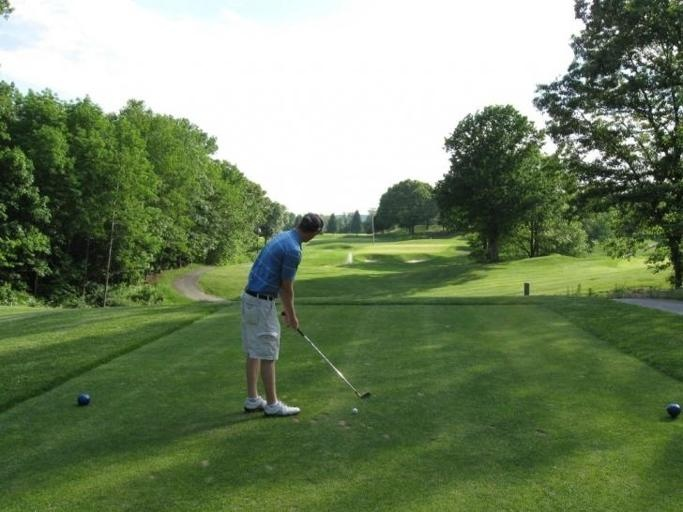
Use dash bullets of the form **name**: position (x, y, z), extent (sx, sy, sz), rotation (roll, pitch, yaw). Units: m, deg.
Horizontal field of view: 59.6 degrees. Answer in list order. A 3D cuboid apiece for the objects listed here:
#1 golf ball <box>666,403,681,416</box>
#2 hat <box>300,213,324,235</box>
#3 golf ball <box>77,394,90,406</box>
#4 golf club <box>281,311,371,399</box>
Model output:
- **golf ball**: position (5.404, 2.465, 9.679), extent (0.174, 0.163, 0.200), rotation (4, -11, -15)
- **hat**: position (-0.513, -0.564, 10.083), extent (0.297, 0.392, 0.384), rotation (6, 7, 0)
- **golf ball**: position (-4.389, 2.411, 10.159), extent (0.212, 0.177, 0.216), rotation (0, 0, 0)
- **golf club**: position (-0.333, 1.978, 11.926), extent (0.308, 1.745, 0.188), rotation (-38, -7, 5)
